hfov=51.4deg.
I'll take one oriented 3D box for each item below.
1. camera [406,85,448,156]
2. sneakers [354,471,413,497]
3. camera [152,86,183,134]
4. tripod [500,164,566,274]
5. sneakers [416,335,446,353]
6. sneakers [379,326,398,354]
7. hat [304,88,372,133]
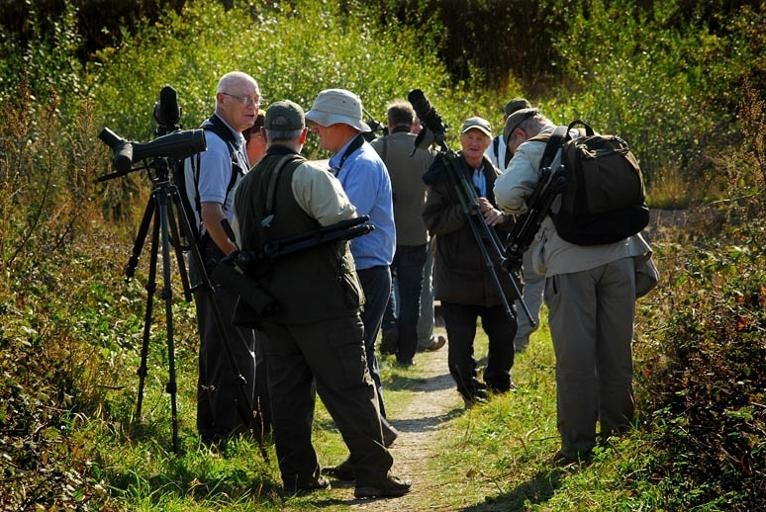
[{"bbox_3d":[0.489,-1.364,8.184,0.340,0.334,0.717,34,-10,35],"label":"camera"},{"bbox_3d":[0.001,1.969,6.916,0.489,0.274,0.194,-2,6,-16],"label":"sneakers"},{"bbox_3d":[-1.873,-1.231,6.932,0.166,0.228,0.528,1,-15,-9],"label":"camera"},{"bbox_3d":[1.328,-0.349,7.035,0.303,1.026,0.292,0,30,-31],"label":"tripod"},{"bbox_3d":[0.673,1.206,11.033,0.445,0.204,0.156,-26,13,-34],"label":"sneakers"},{"bbox_3d":[0.061,1.087,10.190,0.161,0.395,0.255,1,26,-12],"label":"sneakers"},{"bbox_3d":[-0.408,-1.337,7.375,0.711,0.400,0.662,8,2,-6],"label":"hat"}]
